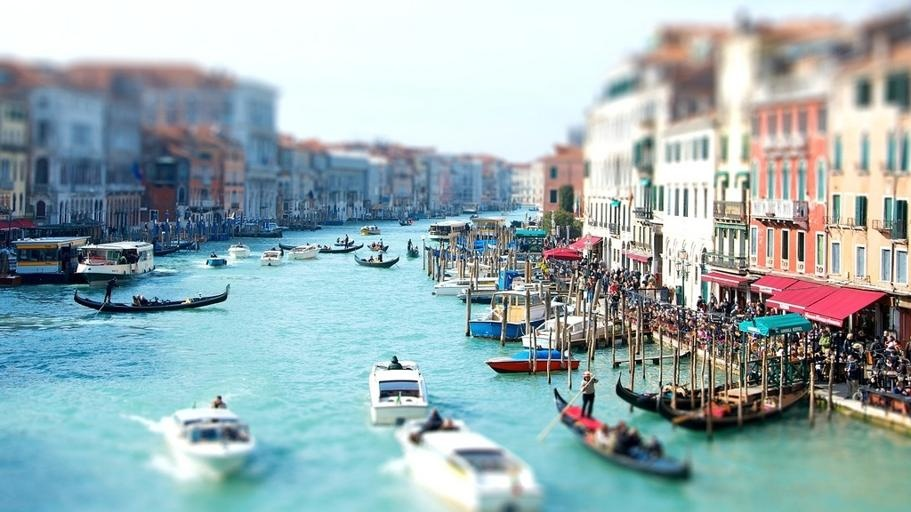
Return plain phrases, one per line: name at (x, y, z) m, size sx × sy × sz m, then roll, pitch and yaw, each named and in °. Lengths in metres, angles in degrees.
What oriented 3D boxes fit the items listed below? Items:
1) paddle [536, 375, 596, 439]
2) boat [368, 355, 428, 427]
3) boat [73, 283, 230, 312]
paddle at (6.717, 9.289, 60.073) m, size 0.830 × 0.733 × 5.023 m, roll 27°, pitch 52°, yaw 36°
boat at (-3.553, 8.526, 62.940) m, size 3.722 × 2.242 × 10.952 m, roll 0°, pitch 6°, yaw -7°
boat at (-26.302, 4.188, 86.904) m, size 11.429 × 1.430 × 2.611 m, roll -3°, pitch 4°, yaw -16°
